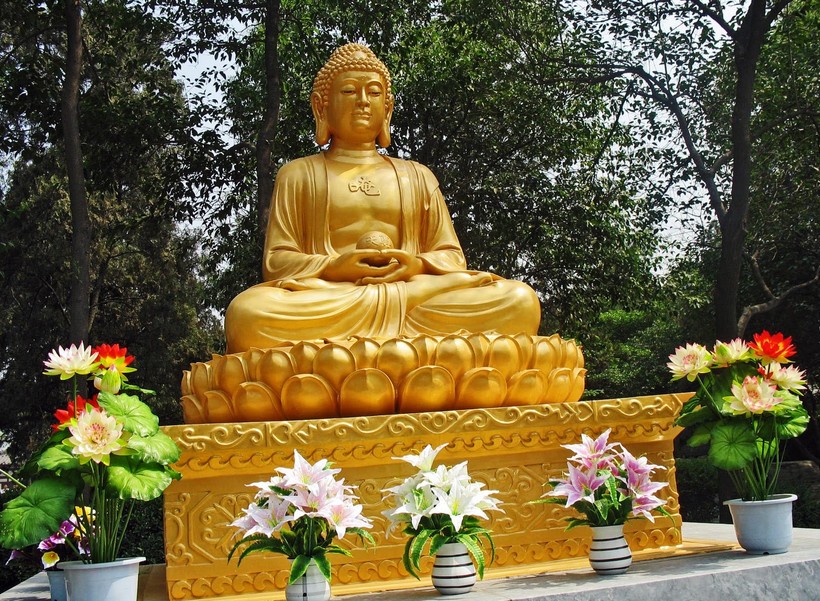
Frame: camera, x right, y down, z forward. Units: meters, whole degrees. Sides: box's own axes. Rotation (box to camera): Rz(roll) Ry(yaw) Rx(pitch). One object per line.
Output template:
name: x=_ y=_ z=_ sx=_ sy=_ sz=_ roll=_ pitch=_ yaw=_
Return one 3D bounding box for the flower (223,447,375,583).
flower: x=-0.876 y=1.675 z=8.680 sx=1.054 sy=0.914 sz=1.024 roll=3 pitch=-7 yaw=-19

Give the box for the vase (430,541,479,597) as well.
vase: x=0.339 y=2.122 z=8.538 sx=0.351 sy=0.407 sz=0.376 roll=0 pitch=-13 yaw=-3

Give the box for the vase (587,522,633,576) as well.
vase: x=1.660 y=2.032 z=8.935 sx=0.348 sy=0.380 sz=0.351 roll=-8 pitch=-7 yaw=15

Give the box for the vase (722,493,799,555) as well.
vase: x=2.933 y=1.844 z=9.086 sx=0.473 sy=0.367 sz=0.494 roll=-1 pitch=-7 yaw=-13

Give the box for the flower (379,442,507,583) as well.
flower: x=0.215 y=1.697 z=8.930 sx=1.050 sy=1.222 sz=1.058 roll=0 pitch=-11 yaw=-5
